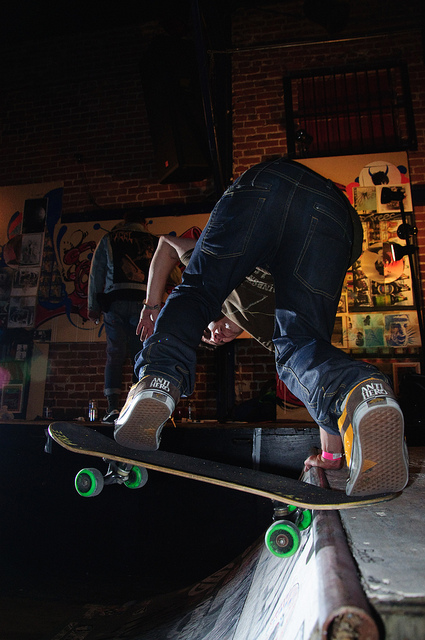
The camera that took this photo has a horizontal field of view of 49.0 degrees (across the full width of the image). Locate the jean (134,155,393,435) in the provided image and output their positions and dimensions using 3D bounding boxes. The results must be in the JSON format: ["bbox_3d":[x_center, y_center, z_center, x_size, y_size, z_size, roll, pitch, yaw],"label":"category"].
[{"bbox_3d":[0.132,-0.105,1.256,0.572,0.760,0.495,-3,-3,14],"label":"jean"}]

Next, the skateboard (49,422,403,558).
[{"bbox_3d":[-0.015,0.398,1.197,0.914,0.272,0.403,-4,-3,28],"label":"skateboard"}]
